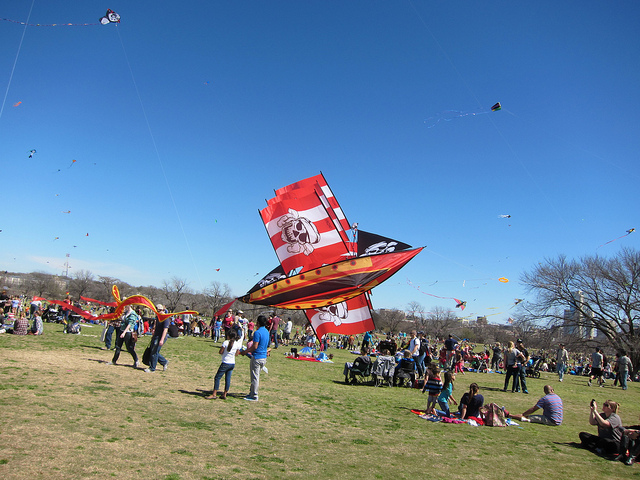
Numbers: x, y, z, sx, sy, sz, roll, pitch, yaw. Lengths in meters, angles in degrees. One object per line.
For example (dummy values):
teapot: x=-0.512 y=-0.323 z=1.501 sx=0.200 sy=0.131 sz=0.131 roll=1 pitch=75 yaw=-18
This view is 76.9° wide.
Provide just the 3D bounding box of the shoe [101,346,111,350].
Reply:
shoe: x=-9.445 y=4.842 z=17.777 sx=0.501 sy=0.171 sz=0.153 roll=-5 pitch=-7 yaw=37

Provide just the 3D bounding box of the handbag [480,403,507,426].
handbag: x=5.424 y=5.606 z=12.692 sx=0.784 sy=0.638 sz=0.439 roll=0 pitch=-15 yaw=26

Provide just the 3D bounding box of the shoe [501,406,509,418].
shoe: x=6.178 y=5.813 z=13.513 sx=0.222 sy=0.340 sz=1.884 roll=0 pitch=-12 yaw=26

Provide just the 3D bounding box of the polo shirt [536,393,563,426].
polo shirt: x=7.588 y=5.680 z=13.278 sx=1.115 sy=0.939 sz=0.614 roll=29 pitch=-21 yaw=-26

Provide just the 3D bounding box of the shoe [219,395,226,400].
shoe: x=-2.921 y=4.822 z=12.159 sx=0.091 sy=0.098 sz=0.266 roll=10 pitch=-7 yaw=-44

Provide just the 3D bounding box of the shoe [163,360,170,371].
shoe: x=-5.711 y=4.765 z=15.029 sx=0.172 sy=0.316 sz=0.939 roll=12 pitch=-13 yaw=-19

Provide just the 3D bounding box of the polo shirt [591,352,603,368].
polo shirt: x=16.727 y=7.453 z=24.501 sx=0.439 sy=0.936 sz=0.987 roll=-2 pitch=-15 yaw=33

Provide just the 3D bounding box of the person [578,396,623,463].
person: x=7.509 y=5.125 z=10.819 sx=0.844 sy=1.420 sz=0.891 roll=13 pitch=-15 yaw=-23

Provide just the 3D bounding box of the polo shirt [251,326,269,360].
polo shirt: x=-1.769 y=3.135 z=12.082 sx=0.547 sy=0.967 sz=0.408 roll=12 pitch=-15 yaw=-20

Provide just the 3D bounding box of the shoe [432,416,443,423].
shoe: x=3.647 y=5.693 z=12.539 sx=0.259 sy=0.081 sz=0.604 roll=-2 pitch=-13 yaw=31

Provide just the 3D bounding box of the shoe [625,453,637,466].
shoe: x=7.767 y=5.613 z=10.114 sx=0.385 sy=0.147 sz=0.123 roll=1 pitch=-23 yaw=-39

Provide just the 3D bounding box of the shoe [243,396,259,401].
shoe: x=-2.085 y=4.929 z=12.262 sx=0.426 sy=0.149 sz=0.140 roll=8 pitch=-11 yaw=2

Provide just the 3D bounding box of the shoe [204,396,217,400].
shoe: x=-3.199 y=4.744 z=11.884 sx=0.356 sy=0.079 sz=0.126 roll=5 pitch=-15 yaw=4

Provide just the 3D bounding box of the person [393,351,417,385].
person: x=3.746 y=5.774 z=17.784 sx=1.176 sy=1.473 sz=0.670 roll=17 pitch=-17 yaw=-38

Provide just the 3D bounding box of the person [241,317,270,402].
person: x=-2.007 y=3.605 z=12.136 sx=0.954 sy=2.415 sz=0.839 roll=4 pitch=-19 yaw=-5

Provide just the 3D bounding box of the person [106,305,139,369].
person: x=-7.211 y=3.654 z=15.244 sx=0.971 sy=2.238 sz=1.492 roll=13 pitch=-15 yaw=-23

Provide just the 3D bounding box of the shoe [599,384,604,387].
shoe: x=17.709 y=9.422 z=25.512 sx=0.124 sy=0.136 sz=0.388 roll=-9 pitch=-15 yaw=25

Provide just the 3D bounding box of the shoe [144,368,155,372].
shoe: x=-5.991 y=4.689 z=14.246 sx=0.337 sy=0.131 sz=0.224 roll=9 pitch=-13 yaw=-16
